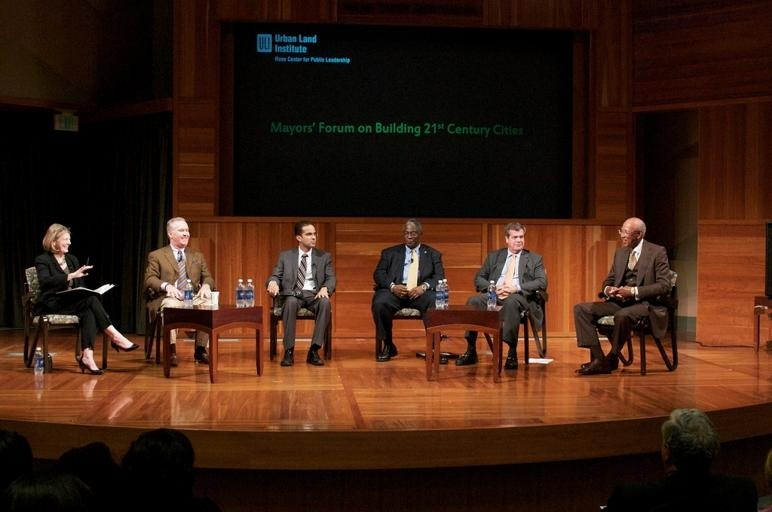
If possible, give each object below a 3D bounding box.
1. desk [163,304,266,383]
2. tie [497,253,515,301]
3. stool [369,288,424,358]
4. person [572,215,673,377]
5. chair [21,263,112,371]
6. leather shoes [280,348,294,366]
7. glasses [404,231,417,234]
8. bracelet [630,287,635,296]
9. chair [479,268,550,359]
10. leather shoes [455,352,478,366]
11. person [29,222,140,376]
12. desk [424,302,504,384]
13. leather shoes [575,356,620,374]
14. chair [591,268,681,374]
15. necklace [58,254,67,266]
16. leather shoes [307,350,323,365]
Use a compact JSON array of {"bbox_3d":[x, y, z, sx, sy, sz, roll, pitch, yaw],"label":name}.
[{"bbox_3d":[-1.363,0.748,5.695,0.878,0.693,0.928,-1,1,37],"label":"desk"},{"bbox_3d":[1.179,0.229,6.063,0.144,0.525,0.076,7,-38,14],"label":"tie"},{"bbox_3d":[0.194,0.639,6.153,0.569,0.652,0.539,3,11,40],"label":"stool"},{"bbox_3d":[2.180,0.441,5.738,0.885,1.190,0.640,0,2,7],"label":"person"},{"bbox_3d":[-3.079,0.483,5.630,0.649,0.941,0.718,-2,-13,7],"label":"chair"},{"bbox_3d":[-0.928,0.945,5.841,0.099,0.155,0.111,-1,1,3],"label":"leather shoes"},{"bbox_3d":[0.252,-0.232,6.276,0.123,0.045,0.053,-1,1,5],"label":"glasses"},{"bbox_3d":[2.219,0.322,5.636,0.045,0.052,0.060,-13,-45,4],"label":"bracelet"},{"bbox_3d":[1.457,0.630,6.265,0.655,1.001,0.621,6,-11,-39],"label":"chair"},{"bbox_3d":[0.786,0.986,6.021,0.253,0.187,0.091,3,-2,-11],"label":"leather shoes"},{"bbox_3d":[-2.778,0.366,5.628,0.769,1.297,0.518,0,2,28],"label":"person"},{"bbox_3d":[0.709,0.759,5.651,1.222,0.572,1.260,0,-3,6],"label":"desk"},{"bbox_3d":[1.898,0.974,5.639,0.440,0.181,0.151,0,-2,-16],"label":"leather shoes"},{"bbox_3d":[2.515,0.588,5.938,0.558,0.752,0.545,-1,5,13],"label":"chair"},{"bbox_3d":[-2.993,0.039,5.782,0.031,0.088,0.063,-14,0,11],"label":"necklace"},{"bbox_3d":[-0.680,0.949,5.911,0.221,0.149,0.098,0,2,33],"label":"leather shoes"}]
